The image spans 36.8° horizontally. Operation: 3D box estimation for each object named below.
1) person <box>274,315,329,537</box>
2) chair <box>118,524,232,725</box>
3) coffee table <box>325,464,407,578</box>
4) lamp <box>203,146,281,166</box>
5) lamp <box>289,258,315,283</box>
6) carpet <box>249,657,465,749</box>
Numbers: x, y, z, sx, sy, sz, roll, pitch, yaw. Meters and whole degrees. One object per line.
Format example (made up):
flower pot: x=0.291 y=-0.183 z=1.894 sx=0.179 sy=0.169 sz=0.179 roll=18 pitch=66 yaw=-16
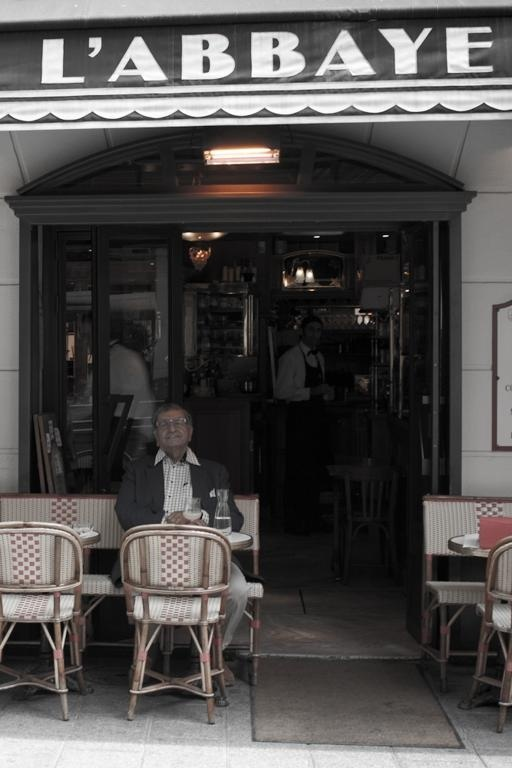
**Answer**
person: x=0.508 y=0.393 z=8.196 sx=0.577 sy=2.252 sz=0.794 roll=0 pitch=-2 yaw=0
chair: x=-0.356 y=1.039 z=3.420 sx=0.468 sy=0.893 sz=0.639 roll=0 pitch=-2 yaw=-4
coffee table: x=0.858 y=1.175 z=6.387 sx=0.539 sy=0.848 sz=0.551 roll=-3 pitch=-8 yaw=-39
lamp: x=-0.085 y=-1.326 z=4.473 sx=0.423 sy=0.087 sz=0.217 roll=0 pitch=-2 yaw=5
lamp: x=0.655 y=-1.685 z=11.395 sx=0.351 sy=0.366 sz=0.200 roll=0 pitch=-4 yaw=-21
carpet: x=0.422 y=1.513 z=3.720 sx=0.898 sy=0.043 sz=1.214 roll=0 pitch=-2 yaw=2
